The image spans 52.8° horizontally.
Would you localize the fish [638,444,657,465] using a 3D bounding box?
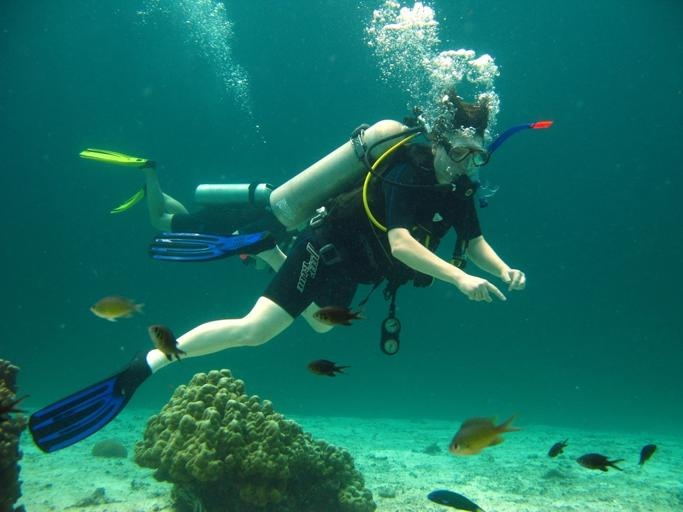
[{"bbox_3d":[11.059,7.104,24.844,0.607,0.820,0.341,3,10,7],"label":"fish"}]
